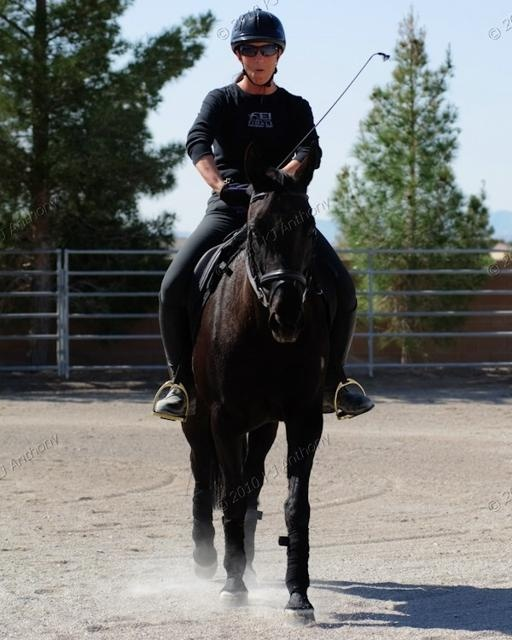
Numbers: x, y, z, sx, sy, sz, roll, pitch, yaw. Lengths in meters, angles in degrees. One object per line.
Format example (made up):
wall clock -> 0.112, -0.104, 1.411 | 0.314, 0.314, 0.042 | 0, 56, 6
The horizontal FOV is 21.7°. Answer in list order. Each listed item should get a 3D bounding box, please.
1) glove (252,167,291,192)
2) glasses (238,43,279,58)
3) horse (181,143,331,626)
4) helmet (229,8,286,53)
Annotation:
glove -> 0.095, -0.859, 8.155 | 0.201, 0.146, 0.150 | -1, 23, -6
glasses -> 0.014, -1.815, 9.001 | 0.280, 0.087, 0.124 | 1, 10, 0
horse -> 0.050, 0.340, 8.522 | 0.668, 2.859, 1.325 | -3, 11, -25
helmet -> 0.021, -1.957, 9.143 | 0.345, 0.366, 0.437 | 0, 9, 4
